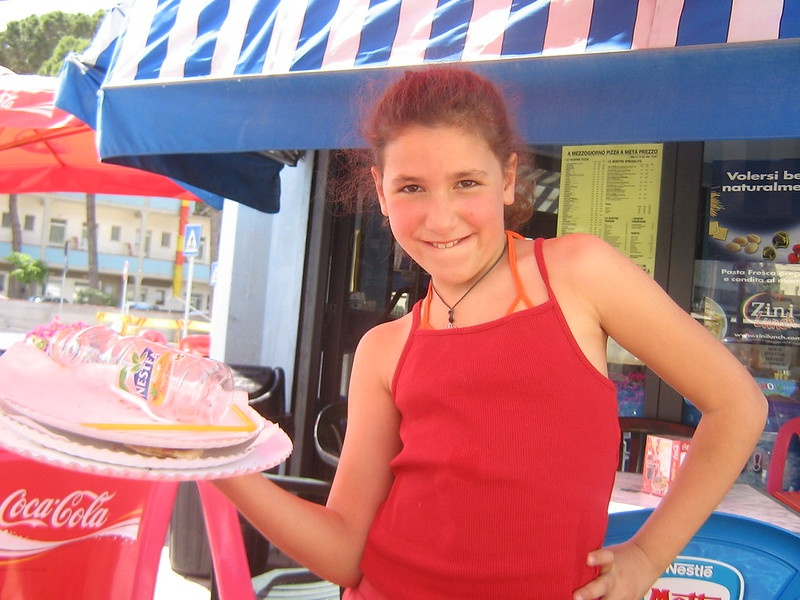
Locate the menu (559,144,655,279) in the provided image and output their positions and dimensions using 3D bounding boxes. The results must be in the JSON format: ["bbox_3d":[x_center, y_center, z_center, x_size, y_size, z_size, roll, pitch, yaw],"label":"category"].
[{"bbox_3d":[1.206,-0.514,3.854,0.550,0.824,0.056,4,34,18],"label":"menu"}]

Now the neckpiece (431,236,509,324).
[{"bbox_3d":[0.180,-0.031,1.654,0.040,0.235,0.162,25,-12,-39],"label":"neckpiece"}]
